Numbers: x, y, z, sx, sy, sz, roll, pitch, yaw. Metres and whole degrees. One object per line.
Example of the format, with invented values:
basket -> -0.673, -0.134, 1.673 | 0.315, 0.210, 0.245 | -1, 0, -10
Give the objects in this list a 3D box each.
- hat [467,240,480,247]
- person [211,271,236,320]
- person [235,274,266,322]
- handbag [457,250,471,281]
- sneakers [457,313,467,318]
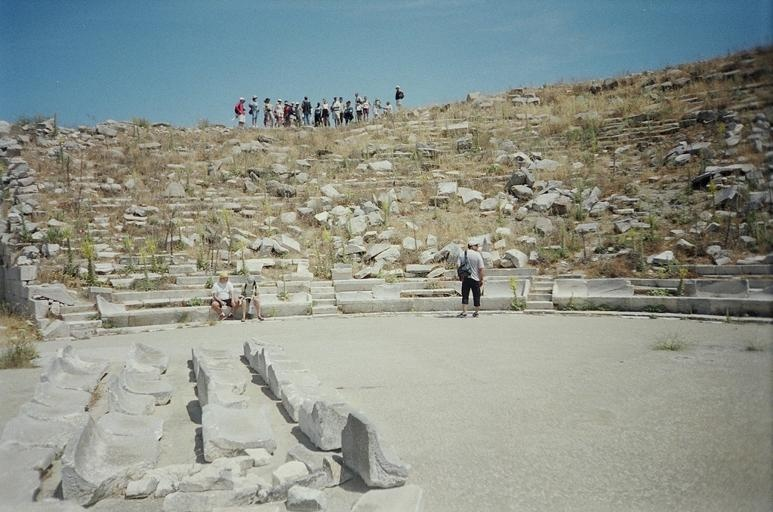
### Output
hat -> 2.684, -0.367, 18.405 | 0.374, 0.203, 0.567 | -1, -2, -7
person -> -4.462, 1.128, 16.414 | 0.744, 1.195, 0.853 | 0, 13, -19
person -> -3.819, 1.179, 16.624 | 0.682, 1.220, 1.057 | 1, 3, -14
handbag -> 2.044, 0.256, 16.095 | 0.607, 0.703, 0.388 | -3, -6, 24
sneakers -> 2.093, 1.677, 16.608 | 0.318, 0.148, 0.119 | -1, -2, 18
